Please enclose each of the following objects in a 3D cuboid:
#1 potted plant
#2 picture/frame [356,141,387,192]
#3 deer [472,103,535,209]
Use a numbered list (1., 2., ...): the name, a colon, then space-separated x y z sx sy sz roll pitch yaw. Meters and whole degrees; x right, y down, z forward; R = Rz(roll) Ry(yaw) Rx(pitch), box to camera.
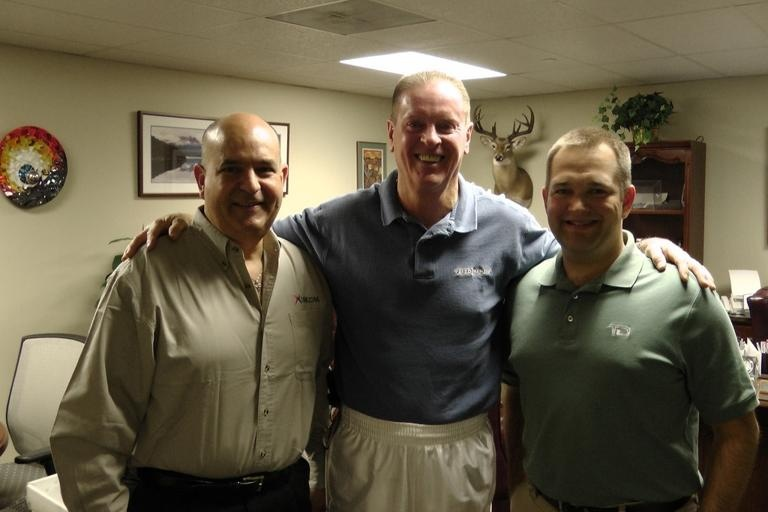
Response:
1. potted plant: 2.525 -1.349 6.131 0.523 0.503 0.595 -3 11 -20
2. picture/frame: -0.136 -1.070 7.412 0.437 0.549 0.023 5 10 38
3. deer: 1.464 -1.052 7.309 0.702 1.439 0.824 2 17 20
